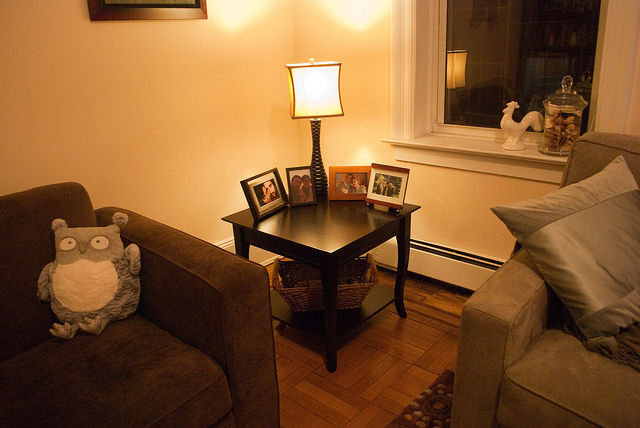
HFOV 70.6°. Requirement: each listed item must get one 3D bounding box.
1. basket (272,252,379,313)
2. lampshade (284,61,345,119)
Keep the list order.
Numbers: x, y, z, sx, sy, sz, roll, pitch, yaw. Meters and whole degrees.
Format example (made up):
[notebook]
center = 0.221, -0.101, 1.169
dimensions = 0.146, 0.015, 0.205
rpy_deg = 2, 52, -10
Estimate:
[basket]
center = 0.030, 0.404, 2.760
dimensions = 0.622, 0.269, 0.411
rpy_deg = -5, 22, -4
[lampshade]
center = -0.019, -0.760, 2.784
dimensions = 0.330, 0.294, 0.203
rpy_deg = -3, 15, 5
